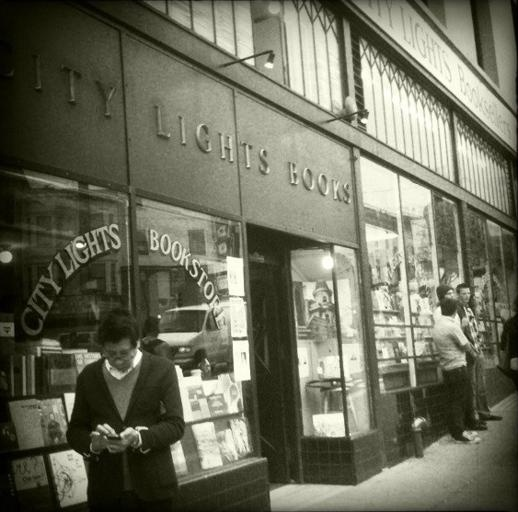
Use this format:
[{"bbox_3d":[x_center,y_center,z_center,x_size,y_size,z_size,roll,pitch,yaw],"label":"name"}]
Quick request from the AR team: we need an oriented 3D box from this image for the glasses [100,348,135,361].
[{"bbox_3d":[-0.807,0.573,3.585,0.177,0.069,0.132,-5,-8,-6],"label":"glasses"}]

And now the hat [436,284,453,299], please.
[{"bbox_3d":[2.774,0.519,9.226,0.201,0.244,0.178,-16,3,15],"label":"hat"}]

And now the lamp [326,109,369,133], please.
[{"bbox_3d":[1.365,-1.963,8.773,0.357,0.394,0.631,4,16,43],"label":"lamp"}]

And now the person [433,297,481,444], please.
[{"bbox_3d":[2.787,1.599,8.836,0.489,2.040,0.389,-6,-7,20],"label":"person"}]
